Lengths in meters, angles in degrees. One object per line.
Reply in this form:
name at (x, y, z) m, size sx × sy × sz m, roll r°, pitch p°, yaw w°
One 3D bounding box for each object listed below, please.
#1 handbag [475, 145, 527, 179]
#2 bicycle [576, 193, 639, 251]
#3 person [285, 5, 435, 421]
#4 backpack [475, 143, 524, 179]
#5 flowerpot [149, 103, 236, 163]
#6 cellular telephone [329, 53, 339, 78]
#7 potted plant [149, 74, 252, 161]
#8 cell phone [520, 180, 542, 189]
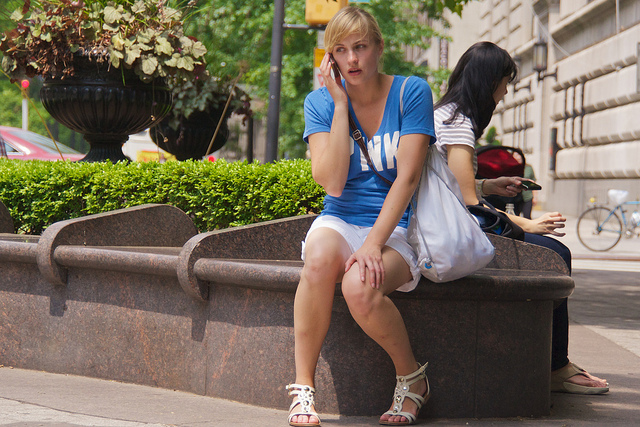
handbag at (1.591, -0.446, 8.121) m, size 0.303 × 0.162 × 0.385 m, roll 4°, pitch 3°, yaw 42°
bicycle at (5.766, 0.206, 18.964) m, size 1.795 × 1.073 × 0.943 m, roll -6°, pitch -1°, yaw 20°
person at (0.329, -0.013, 7.023) m, size 0.996 × 3.059 × 0.622 m, roll 3°, pitch 2°, yaw -2°
backpack at (1.521, -0.446, 8.041) m, size 0.315 × 0.171 × 0.400 m, roll 0°, pitch 0°, yaw -18°
flowerpot at (-1.576, -0.981, 11.714) m, size 0.921 × 0.643 × 0.857 m, roll -1°, pitch -7°, yaw -3°
cellular telephone at (0.092, -1.123, 7.096) m, size 0.020 × 0.179 × 0.100 m, roll -13°, pitch -41°, yaw -2°
potted plant at (-1.470, -1.187, 11.302) m, size 1.237 × 1.170 × 1.225 m, roll 0°, pitch -3°, yaw -1°
cell phone at (1.715, -0.235, 7.750) m, size 0.184 × 0.071 × 0.068 m, roll 13°, pitch 18°, yaw 9°
